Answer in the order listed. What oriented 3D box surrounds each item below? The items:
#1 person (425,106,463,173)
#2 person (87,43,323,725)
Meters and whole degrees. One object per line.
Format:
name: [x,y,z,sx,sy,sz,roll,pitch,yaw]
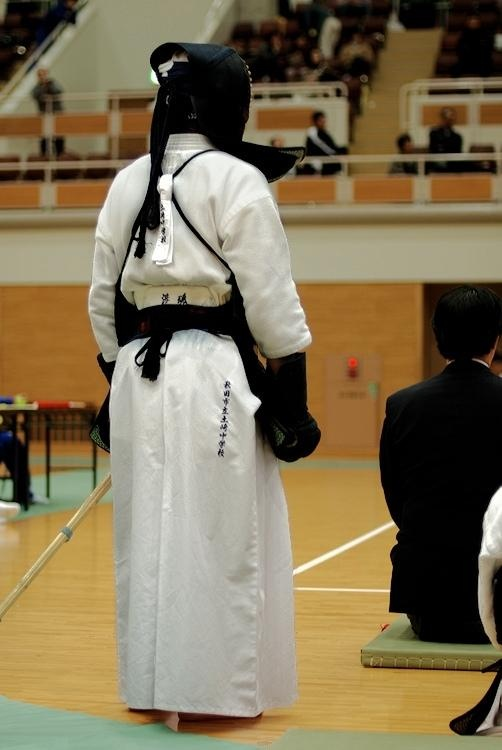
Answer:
person: [1.983,-2.307,12.601,0.306,0.818,0.208,0,34,-6]
person: [-0.113,0.033,3.007,0.574,1.668,0.671,-1,14,-8]
